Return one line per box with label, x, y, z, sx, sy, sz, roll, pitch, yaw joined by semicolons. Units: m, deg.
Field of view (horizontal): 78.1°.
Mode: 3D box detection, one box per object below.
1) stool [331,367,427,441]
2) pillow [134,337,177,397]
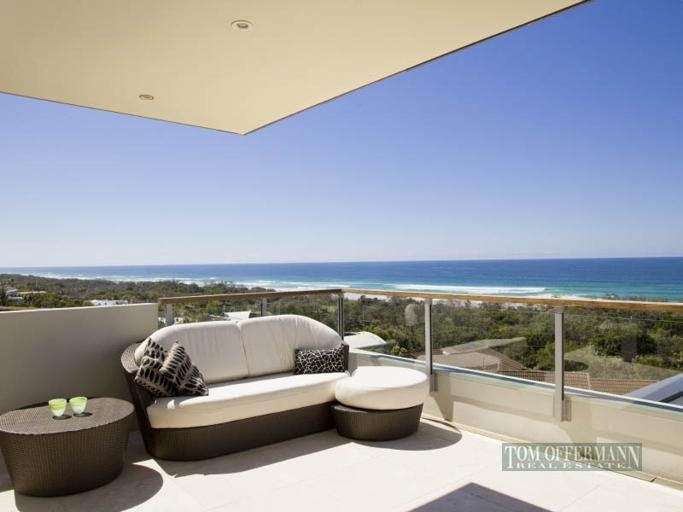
stool;0.375;1.299;3.767;0.634;0.304;0.632;1;-2;8
pillow;-1.520;0.905;3.419;0.120;0.362;0.375;-28;12;7
